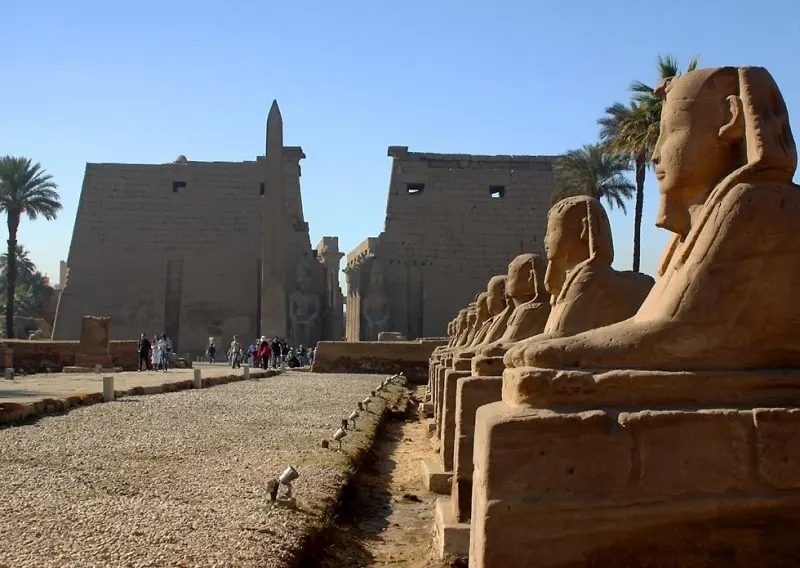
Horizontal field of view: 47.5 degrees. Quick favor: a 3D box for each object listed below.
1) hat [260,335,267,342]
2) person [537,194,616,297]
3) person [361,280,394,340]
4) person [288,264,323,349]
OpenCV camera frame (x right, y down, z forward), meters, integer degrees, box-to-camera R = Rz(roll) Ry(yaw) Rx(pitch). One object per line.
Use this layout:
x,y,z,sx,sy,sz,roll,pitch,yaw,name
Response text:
-3.695,1.495,24.636,0.158,0.168,0.233,3,-15,-8,hat
1.246,-0.279,6.489,0.389,0.739,0.684,1,-6,-4,person
-0.901,1.005,32.235,0.995,1.982,0.654,-1,-6,15,person
-3.572,0.605,34.299,1.133,3.410,1.381,1,-5,-4,person
